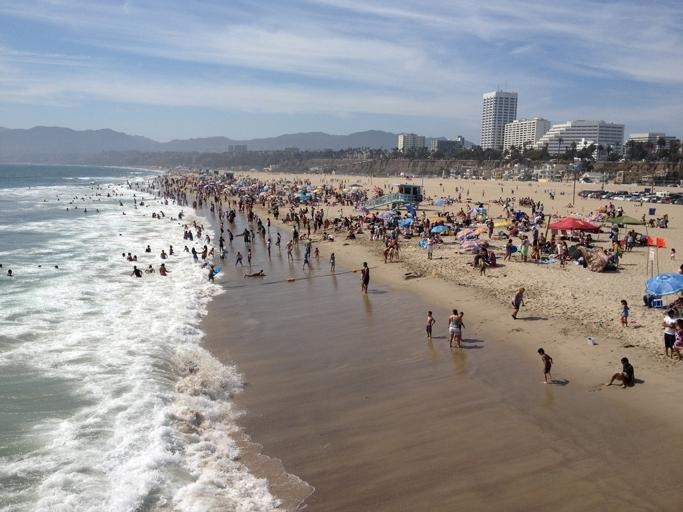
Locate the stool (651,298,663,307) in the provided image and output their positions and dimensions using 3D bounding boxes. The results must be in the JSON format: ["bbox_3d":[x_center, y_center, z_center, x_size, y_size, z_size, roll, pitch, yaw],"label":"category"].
[{"bbox_3d":[11.642,1.699,20.986,0.382,0.331,0.449,6,13,26],"label":"stool"}]
